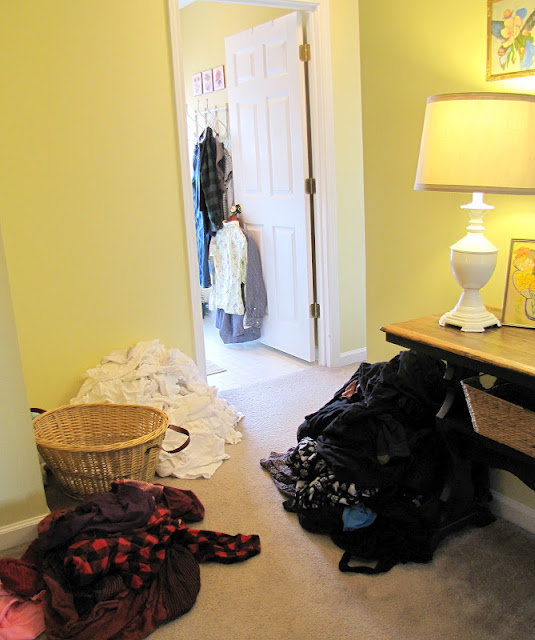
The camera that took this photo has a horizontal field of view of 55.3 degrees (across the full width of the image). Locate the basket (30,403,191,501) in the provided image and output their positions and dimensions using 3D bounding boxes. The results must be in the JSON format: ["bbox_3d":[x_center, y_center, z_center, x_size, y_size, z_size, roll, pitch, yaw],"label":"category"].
[{"bbox_3d":[-0.647,0.491,2.014,0.540,0.198,0.372,9,16,32],"label":"basket"}]
